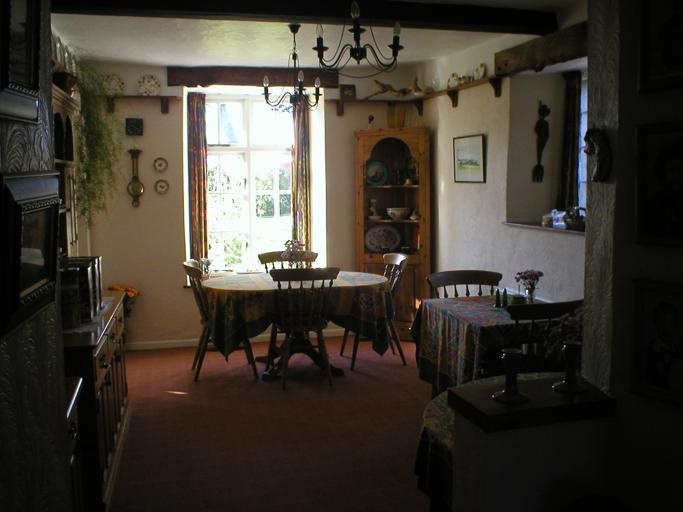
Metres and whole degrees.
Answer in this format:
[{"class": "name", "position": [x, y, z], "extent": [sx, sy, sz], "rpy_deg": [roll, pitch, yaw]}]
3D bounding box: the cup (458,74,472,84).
[{"class": "cup", "position": [1.241, -1.786, 5.476], "extent": [0.109, 0.081, 0.109], "rpy_deg": [-3, 1, 0]}]

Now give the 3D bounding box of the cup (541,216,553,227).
[{"class": "cup", "position": [1.738, -0.294, 4.623], "extent": [0.081, 0.086, 0.085], "rpy_deg": [1, 1, 0]}]

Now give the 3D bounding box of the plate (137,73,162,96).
[{"class": "plate", "position": [-2.116, -1.908, 6.000], "extent": [0.247, 0.226, 0.055], "rpy_deg": [-3, 6, -21]}]

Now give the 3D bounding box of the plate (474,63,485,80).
[{"class": "plate", "position": [1.355, -1.830, 5.353], "extent": [0.050, 0.148, 0.187], "rpy_deg": [-3, 7, -18]}]

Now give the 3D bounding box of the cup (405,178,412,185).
[{"class": "cup", "position": [0.797, -0.879, 6.422], "extent": [0.088, 0.064, 0.157], "rpy_deg": [0, 7, 4]}]

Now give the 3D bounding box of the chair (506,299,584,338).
[{"class": "chair", "position": [1.298, 0.410, 3.518], "extent": [0.473, 0.261, 0.251], "rpy_deg": [0, 7, 11]}]

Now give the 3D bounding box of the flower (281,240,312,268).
[{"class": "flower", "position": [-0.472, -0.017, 5.582], "extent": [0.240, 0.168, 0.310], "rpy_deg": [1, -3, 3]}]

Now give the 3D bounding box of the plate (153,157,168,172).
[{"class": "plate", "position": [-2.015, -1.022, 6.073], "extent": [0.152, 0.170, 0.027], "rpy_deg": [-1, 6, -2]}]

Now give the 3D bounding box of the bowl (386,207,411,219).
[{"class": "bowl", "position": [0.651, -0.513, 6.511], "extent": [0.321, 0.135, 0.243], "rpy_deg": [3, 8, 28]}]

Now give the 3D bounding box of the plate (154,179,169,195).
[{"class": "plate", "position": [-2.006, -0.778, 6.097], "extent": [0.164, 0.172, 0.044], "rpy_deg": [-4, 6, -22]}]
